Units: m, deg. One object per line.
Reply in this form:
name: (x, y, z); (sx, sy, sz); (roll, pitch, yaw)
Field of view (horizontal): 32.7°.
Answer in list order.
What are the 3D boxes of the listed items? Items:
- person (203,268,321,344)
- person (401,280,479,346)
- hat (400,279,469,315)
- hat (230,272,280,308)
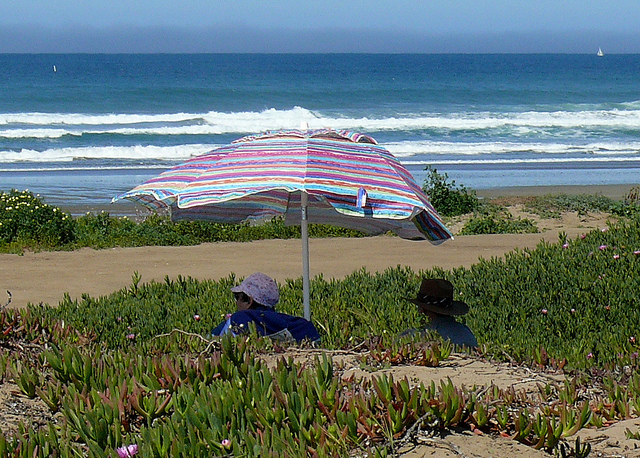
person: (-0.912, 1.109, 15.610); (1.450, 0.781, 0.973); (4, 1, 26)
person: (1.672, 1.139, 15.948); (1.509, 0.812, 1.141); (6, 4, 41)
hat: (1.694, 0.924, 15.930); (0.945, 0.429, 1.016); (0, 6, -44)
hat: (-0.922, 0.870, 15.691); (0.581, 0.305, 0.436); (29, 9, 13)
